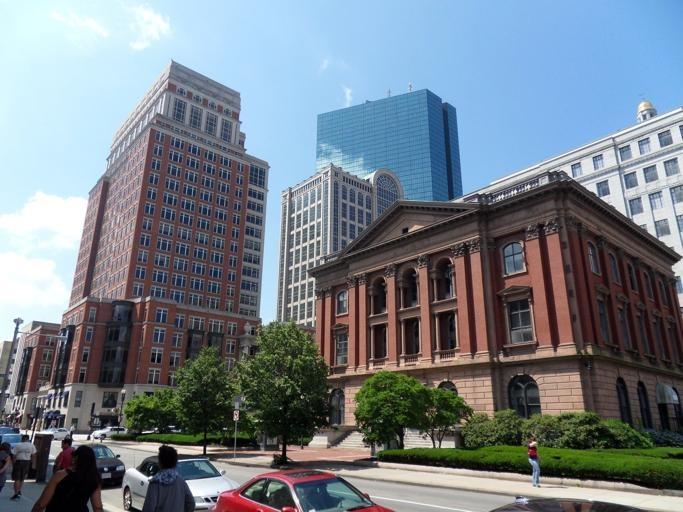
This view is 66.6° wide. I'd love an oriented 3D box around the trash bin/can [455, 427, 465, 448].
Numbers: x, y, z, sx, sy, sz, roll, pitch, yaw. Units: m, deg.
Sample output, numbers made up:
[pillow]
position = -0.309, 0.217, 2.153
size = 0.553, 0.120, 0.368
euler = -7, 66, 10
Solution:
[trash bin/can]
position = 8.518, 13.158, 37.562
size = 0.620, 1.288, 0.826
euler = 1, -21, -1
